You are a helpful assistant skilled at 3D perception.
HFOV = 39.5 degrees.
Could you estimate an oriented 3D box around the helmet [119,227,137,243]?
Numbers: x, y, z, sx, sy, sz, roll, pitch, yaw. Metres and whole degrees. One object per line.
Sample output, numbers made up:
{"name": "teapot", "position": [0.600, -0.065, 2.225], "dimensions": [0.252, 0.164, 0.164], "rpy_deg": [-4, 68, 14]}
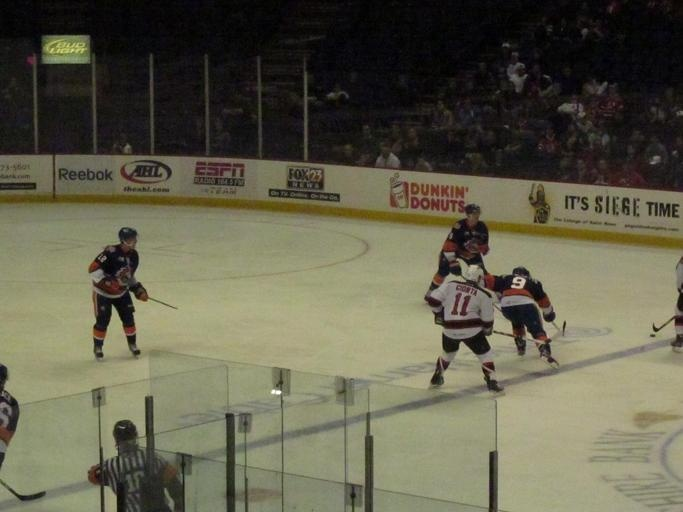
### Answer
{"name": "helmet", "position": [-2.862, -0.280, 12.752], "dimensions": [0.215, 0.210, 0.240], "rpy_deg": [-2, 4, -11]}

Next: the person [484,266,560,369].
{"name": "person", "position": [2.289, 0.776, 12.733], "dimensions": [1.177, 0.505, 1.941], "rpy_deg": [10, 34, 5]}

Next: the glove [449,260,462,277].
{"name": "glove", "position": [1.772, 0.179, 14.681], "dimensions": [0.249, 0.230, 0.179], "rpy_deg": [0, 0, -35]}

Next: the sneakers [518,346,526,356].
{"name": "sneakers", "position": [2.470, 1.284, 12.995], "dimensions": [0.143, 0.129, 0.103], "rpy_deg": [-4, 4, -43]}

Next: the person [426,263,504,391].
{"name": "person", "position": [1.556, 0.880, 11.940], "dimensions": [0.897, 1.572, 1.128], "rpy_deg": [-1, 4, 4]}

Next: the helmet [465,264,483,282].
{"name": "helmet", "position": [1.638, 0.205, 11.666], "dimensions": [0.180, 0.193, 0.228], "rpy_deg": [11, 23, 31]}

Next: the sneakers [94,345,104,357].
{"name": "sneakers", "position": [-3.286, 1.284, 12.867], "dimensions": [0.123, 0.169, 0.280], "rpy_deg": [-3, 4, -15]}

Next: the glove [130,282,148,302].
{"name": "glove", "position": [-2.738, 0.509, 13.035], "dimensions": [0.208, 0.109, 0.283], "rpy_deg": [21, -22, 46]}

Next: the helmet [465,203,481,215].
{"name": "helmet", "position": [2.050, -0.734, 14.772], "dimensions": [0.191, 0.150, 0.356], "rpy_deg": [0, 4, 13]}

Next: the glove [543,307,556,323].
{"name": "glove", "position": [2.888, 0.775, 13.200], "dimensions": [0.234, 0.217, 0.209], "rpy_deg": [1, -38, 6]}

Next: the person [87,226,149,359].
{"name": "person", "position": [-3.045, 0.475, 13.000], "dimensions": [0.745, 1.744, 0.710], "rpy_deg": [-2, 4, -13]}

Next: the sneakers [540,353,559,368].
{"name": "sneakers", "position": [2.734, 1.375, 12.505], "dimensions": [0.239, 0.162, 0.082], "rpy_deg": [20, 46, 20]}
